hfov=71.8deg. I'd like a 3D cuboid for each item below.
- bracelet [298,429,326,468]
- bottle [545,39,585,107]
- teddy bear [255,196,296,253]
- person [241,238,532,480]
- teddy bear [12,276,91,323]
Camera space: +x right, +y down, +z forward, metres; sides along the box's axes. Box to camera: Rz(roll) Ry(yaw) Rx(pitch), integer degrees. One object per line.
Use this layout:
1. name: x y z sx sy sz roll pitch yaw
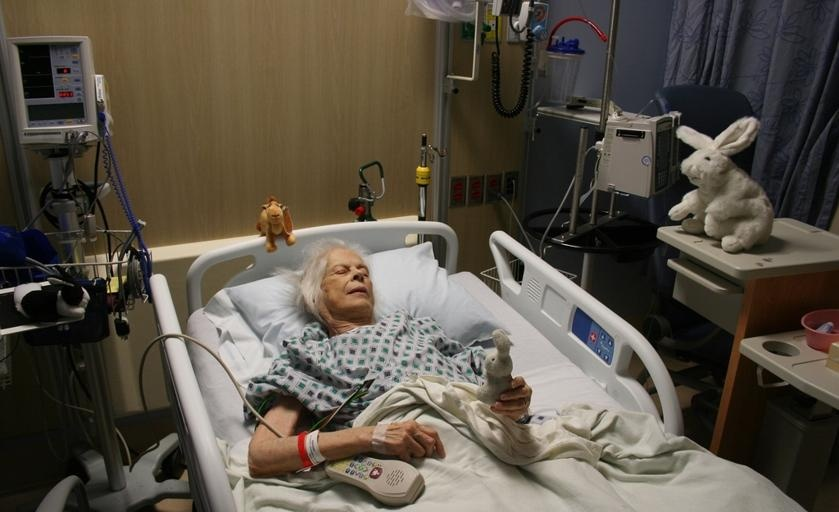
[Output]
1. bracelet: -0.404 0.729 2.200 0.099 0.068 0.128 1 0 10
2. bottle: 0.804 -1.030 3.241 0.188 0.359 0.440 4 23 12
3. teddy bear: -0.704 -0.157 2.866 0.136 0.236 0.299 -10 27 -18
4. person: -0.293 0.494 2.419 0.849 0.366 0.888 -5 21 -27
5. teddy bear: -1.368 0.178 2.162 0.206 0.093 0.157 6 36 -6
